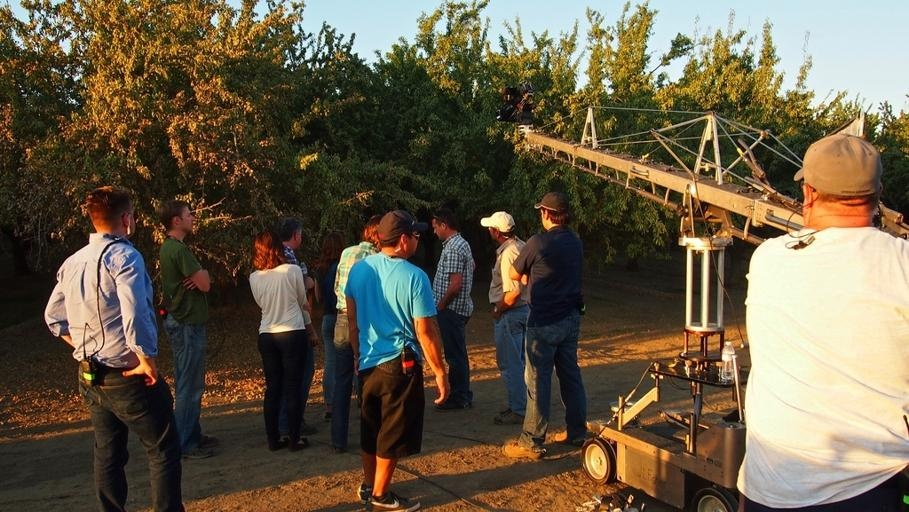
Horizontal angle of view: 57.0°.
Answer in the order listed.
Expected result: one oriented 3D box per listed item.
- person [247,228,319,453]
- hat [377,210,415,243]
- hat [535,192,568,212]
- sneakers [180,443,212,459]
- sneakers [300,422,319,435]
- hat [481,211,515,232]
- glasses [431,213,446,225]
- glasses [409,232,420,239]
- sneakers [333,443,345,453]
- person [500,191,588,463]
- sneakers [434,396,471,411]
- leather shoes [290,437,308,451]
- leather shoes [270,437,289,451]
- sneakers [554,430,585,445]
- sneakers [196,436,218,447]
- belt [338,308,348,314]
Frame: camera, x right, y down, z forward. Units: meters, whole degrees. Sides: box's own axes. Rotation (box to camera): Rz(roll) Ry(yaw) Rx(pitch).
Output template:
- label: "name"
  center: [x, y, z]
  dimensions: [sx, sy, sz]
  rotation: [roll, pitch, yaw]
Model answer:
- label: "person"
  center: [-2.812, 1.355, 13.734]
  dimensions: [0.876, 3.611, 0.618]
  rotation: [-2, 4, -4]
- label: "hat"
  center: [-0.862, -0.498, 12.482]
  dimensions: [0.549, 0.325, 0.374]
  rotation: [-36, 33, -29]
- label: "hat"
  center: [1.604, -0.845, 13.585]
  dimensions: [0.422, 0.246, 0.337]
  rotation: [14, 17, 26]
- label: "sneakers"
  center: [-4.138, 3.147, 13.519]
  dimensions: [0.434, 0.207, 0.190]
  rotation: [-1, -2, -5]
- label: "sneakers"
  center: [-2.452, 2.944, 14.284]
  dimensions: [0.286, 0.202, 0.136]
  rotation: [2, 4, -26]
- label: "hat"
  center: [0.756, -0.601, 14.614]
  dimensions: [0.541, 0.293, 0.363]
  rotation: [15, 35, 26]
- label: "glasses"
  center: [-0.270, -0.693, 15.124]
  dimensions: [0.221, 0.237, 0.181]
  rotation: [0, 1, -30]
- label: "glasses"
  center: [-0.612, -0.321, 12.615]
  dimensions: [0.039, 0.129, 0.120]
  rotation: [14, 9, 35]
- label: "sneakers"
  center: [-1.851, 3.117, 13.627]
  dimensions: [0.185, 0.132, 0.108]
  rotation: [-1, 3, 13]
- label: "person"
  center: [1.525, 1.081, 13.453]
  dimensions: [1.232, 4.235, 0.607]
  rotation: [-3, 5, -25]
- label: "sneakers"
  center: [-0.017, 2.676, 15.254]
  dimensions: [0.618, 0.274, 0.254]
  rotation: [3, -9, -7]
- label: "leather shoes"
  center: [-2.521, 3.064, 13.693]
  dimensions: [0.146, 0.130, 0.306]
  rotation: [9, 18, 23]
- label: "leather shoes"
  center: [-2.850, 3.079, 13.748]
  dimensions: [0.134, 0.156, 0.388]
  rotation: [4, 8, 21]
- label: "sneakers"
  center: [1.913, 2.977, 13.793]
  dimensions: [0.564, 0.255, 0.197]
  rotation: [-6, -4, 33]
- label: "sneakers"
  center: [-4.049, 3.069, 13.862]
  dimensions: [0.262, 0.110, 0.132]
  rotation: [0, 1, 1]
- label: "belt"
  center: [-1.847, 0.894, 13.819]
  dimensions: [0.108, 0.066, 0.112]
  rotation: [0, 0, 18]
